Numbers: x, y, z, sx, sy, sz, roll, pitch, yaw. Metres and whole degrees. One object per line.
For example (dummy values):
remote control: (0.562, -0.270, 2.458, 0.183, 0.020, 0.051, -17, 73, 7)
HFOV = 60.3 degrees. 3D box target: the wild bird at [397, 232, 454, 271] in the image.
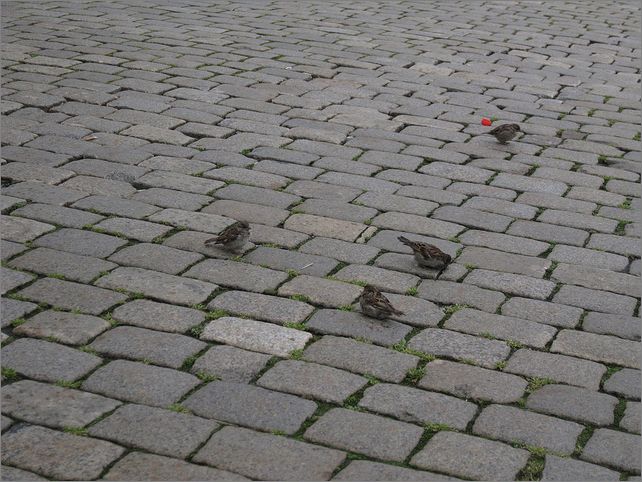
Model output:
wild bird: (0.758, 0.067, 4.450, 0.526, 0.164, 0.158, 27, 41, 16)

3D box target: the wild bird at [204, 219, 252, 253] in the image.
wild bird: (-0.723, -0.035, 4.525, 0.440, 0.200, 0.214, 2, 13, 22)

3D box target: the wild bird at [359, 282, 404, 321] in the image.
wild bird: (0.439, 0.416, 3.828, 0.356, 0.142, 0.189, 10, 12, 40)

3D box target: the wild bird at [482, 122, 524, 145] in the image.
wild bird: (2.157, -1.251, 6.506, 0.307, 0.279, 0.276, 4, 34, 8)
